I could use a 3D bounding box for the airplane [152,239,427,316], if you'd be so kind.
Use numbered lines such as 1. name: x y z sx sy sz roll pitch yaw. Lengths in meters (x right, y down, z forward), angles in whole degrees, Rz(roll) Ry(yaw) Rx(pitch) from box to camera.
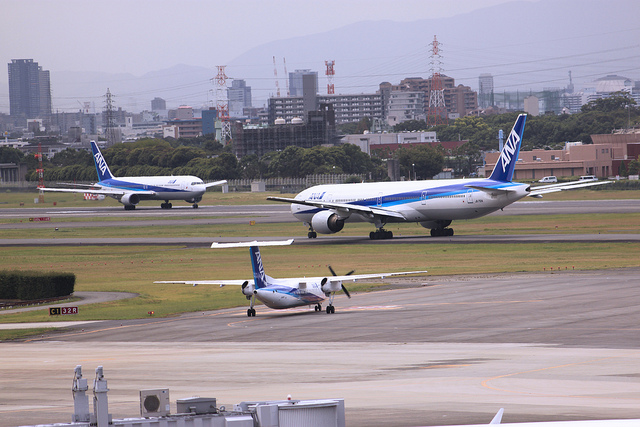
1. airplane: -2.979 5.777 120.546 14.695 6.741 5.130 -2 5 -5

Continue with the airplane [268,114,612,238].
1. airplane: 10.971 -3.782 153.692 28.639 13.716 7.209 0 6 29

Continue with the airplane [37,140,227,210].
1. airplane: -30.163 -6.304 224.558 15.966 11.233 23.281 -4 4 -21
